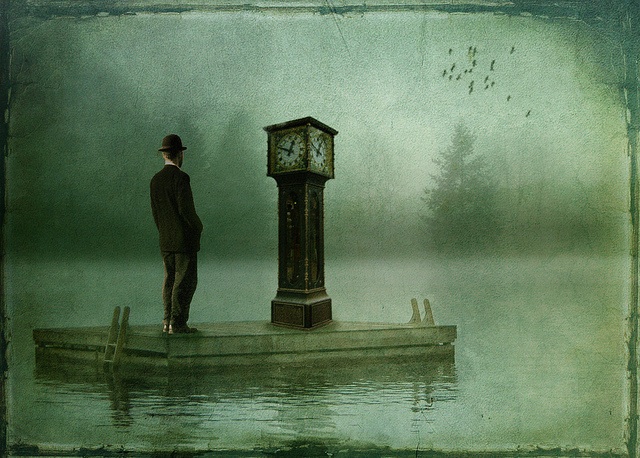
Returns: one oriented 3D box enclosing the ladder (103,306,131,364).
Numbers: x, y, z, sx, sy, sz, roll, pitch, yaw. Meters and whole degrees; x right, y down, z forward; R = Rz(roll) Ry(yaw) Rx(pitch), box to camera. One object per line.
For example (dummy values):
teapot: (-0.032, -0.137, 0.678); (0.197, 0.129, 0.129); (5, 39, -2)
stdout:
ladder: (-2.407, 1.302, 15.493); (0.103, 0.759, 0.164); (22, -21, -39)

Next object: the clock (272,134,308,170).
clock: (-0.356, -0.949, 15.914); (0.447, 0.422, 0.054); (2, 2, 26)

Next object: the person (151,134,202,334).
person: (-1.728, 0.062, 15.513); (0.594, 2.369, 0.503); (1, -10, -7)

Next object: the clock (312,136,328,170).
clock: (-0.019, -0.941, 16.022); (0.025, 0.419, 0.432); (-7, 1, 21)
